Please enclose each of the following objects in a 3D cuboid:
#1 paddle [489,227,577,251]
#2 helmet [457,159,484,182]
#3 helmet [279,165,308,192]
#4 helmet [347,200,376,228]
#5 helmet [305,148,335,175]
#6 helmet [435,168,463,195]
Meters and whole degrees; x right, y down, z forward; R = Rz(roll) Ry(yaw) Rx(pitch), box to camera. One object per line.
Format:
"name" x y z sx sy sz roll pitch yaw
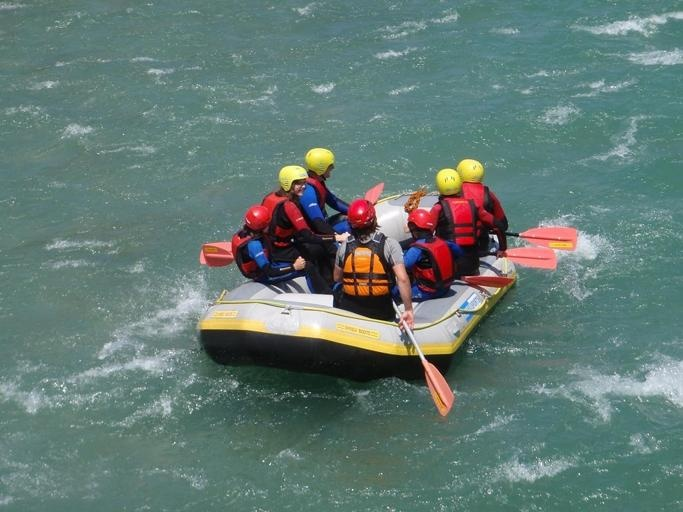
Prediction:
"paddle" 3.681 -0.381 21.665 1.874 0.130 0.405 5 80 9
"helmet" 2.477 -1.626 20.782 0.446 0.403 0.486 -2 26 -14
"helmet" -0.956 -1.429 20.172 0.625 0.382 0.429 12 22 19
"helmet" 0.342 -0.750 18.882 0.469 0.471 0.491 0 51 20
"helmet" -0.445 -1.771 20.498 0.662 0.405 0.416 -4 35 -6
"helmet" 1.976 -1.401 20.371 0.452 0.388 0.503 -9 38 5
